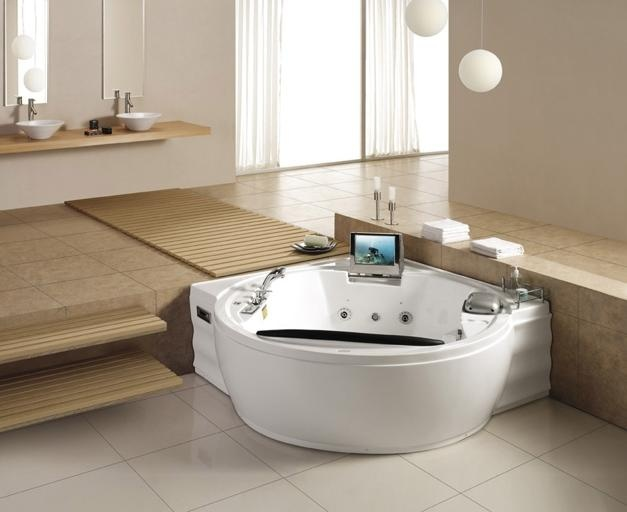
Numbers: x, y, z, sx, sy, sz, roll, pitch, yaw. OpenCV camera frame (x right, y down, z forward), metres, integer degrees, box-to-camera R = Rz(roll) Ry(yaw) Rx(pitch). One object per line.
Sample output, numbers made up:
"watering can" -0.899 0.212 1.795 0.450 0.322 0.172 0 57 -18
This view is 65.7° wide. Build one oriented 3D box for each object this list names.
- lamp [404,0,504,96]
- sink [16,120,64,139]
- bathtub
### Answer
"lamp" 0.850 -1.181 2.817 0.460 0.489 0.903 4 11 26
"sink" -2.464 -1.166 4.451 0.345 0.211 0.520 -7 12 -30
"bathtub" 0.276 0.441 2.360 1.776 0.587 1.062 -1 10 -1
